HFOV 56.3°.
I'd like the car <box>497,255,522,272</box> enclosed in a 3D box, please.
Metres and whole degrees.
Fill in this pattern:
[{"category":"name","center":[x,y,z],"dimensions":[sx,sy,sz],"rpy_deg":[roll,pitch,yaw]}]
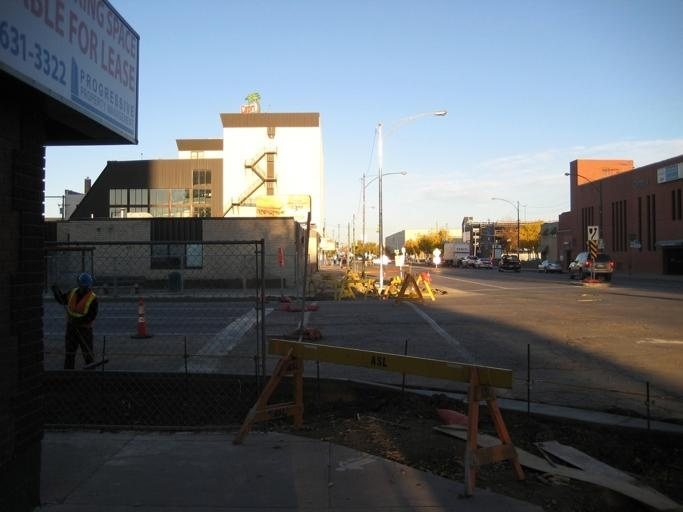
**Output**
[{"category":"car","center":[16.443,0.718,62.592],"dimensions":[1.362,1.360,3.537],"rpy_deg":[0,3,13]}]

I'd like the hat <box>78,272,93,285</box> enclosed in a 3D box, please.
[{"category":"hat","center":[-4.279,0.342,10.667],"dimensions":[0.162,0.233,0.234],"rpy_deg":[5,23,-14]}]

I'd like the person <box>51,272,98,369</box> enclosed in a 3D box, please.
[{"category":"person","center":[-4.481,1.280,10.802],"dimensions":[0.671,2.055,0.516],"rpy_deg":[5,15,-13]}]

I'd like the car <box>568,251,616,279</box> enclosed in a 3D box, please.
[{"category":"car","center":[15.401,0.646,39.449],"dimensions":[1.425,1.488,3.216],"rpy_deg":[0,4,3]}]

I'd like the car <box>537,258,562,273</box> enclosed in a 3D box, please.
[{"category":"car","center":[19.768,0.962,60.756],"dimensions":[0.999,1.016,2.781],"rpy_deg":[-1,1,-8]}]
